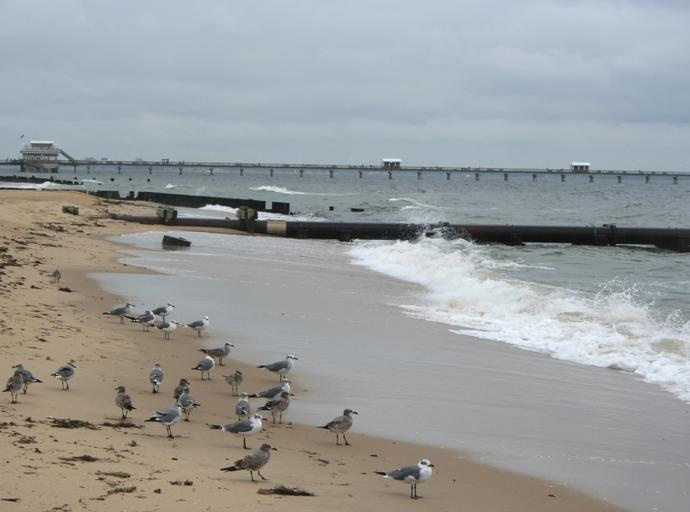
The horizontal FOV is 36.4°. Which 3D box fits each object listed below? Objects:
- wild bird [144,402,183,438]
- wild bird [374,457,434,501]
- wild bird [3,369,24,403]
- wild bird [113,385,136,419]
[{"bbox_3d":[-3.543,3.120,20.301,0.703,0.445,0.369,4,-1,-39],"label":"wild bird"},{"bbox_3d":[1.085,4.110,19.552,1.424,0.573,0.476,-7,-10,36],"label":"wild bird"},{"bbox_3d":[-6.638,2.561,20.937,0.389,0.598,0.753,0,4,-16],"label":"wild bird"},{"bbox_3d":[-4.423,2.879,21.051,0.404,0.625,0.958,0,4,-11],"label":"wild bird"}]
